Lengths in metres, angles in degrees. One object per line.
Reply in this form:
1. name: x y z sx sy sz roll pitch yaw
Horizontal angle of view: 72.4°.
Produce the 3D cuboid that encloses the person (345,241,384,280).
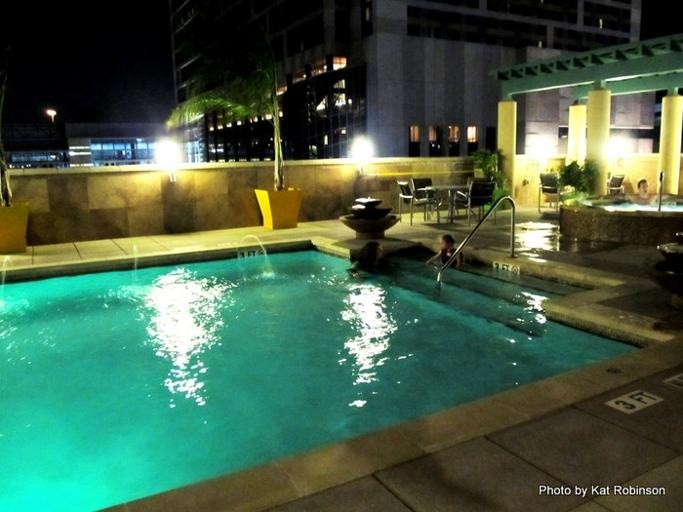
1. person: 0.419 0.075 9.517 0.518 0.421 0.968 -1 29 47
